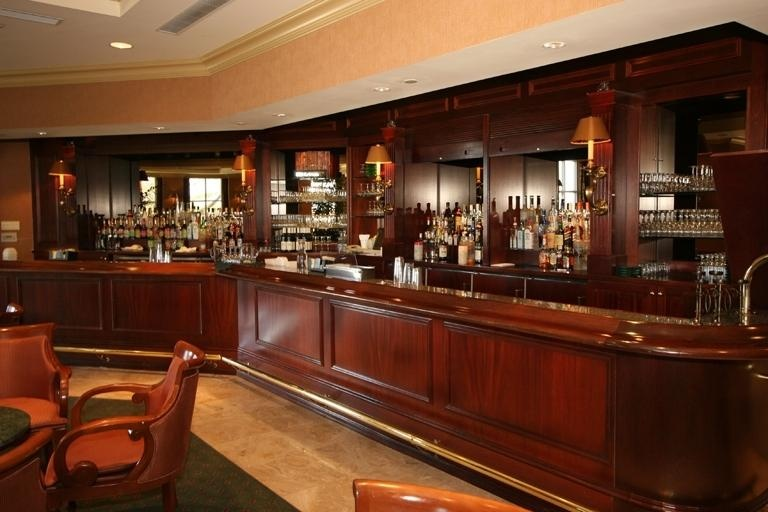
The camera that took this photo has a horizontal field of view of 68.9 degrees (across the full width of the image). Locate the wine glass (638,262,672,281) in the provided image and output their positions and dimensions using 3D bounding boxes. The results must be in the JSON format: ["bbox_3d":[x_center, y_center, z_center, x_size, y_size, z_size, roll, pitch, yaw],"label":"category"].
[{"bbox_3d":[2.841,0.152,5.888,0.243,0.255,0.277,3,7,22],"label":"wine glass"}]

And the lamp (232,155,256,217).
[{"bbox_3d":[-2.307,-1.212,9.383,0.316,1.005,1.619,-4,11,-13],"label":"lamp"}]

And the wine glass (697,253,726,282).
[{"bbox_3d":[3.094,0.112,5.302,0.277,0.331,0.274,2,3,38],"label":"wine glass"}]

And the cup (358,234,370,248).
[{"bbox_3d":[-0.293,-0.223,8.371,0.180,0.186,0.176,1,8,0],"label":"cup"}]

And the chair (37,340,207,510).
[{"bbox_3d":[-1.820,1.236,4.448,1.360,1.430,1.048,4,-3,-24],"label":"chair"}]

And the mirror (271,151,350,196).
[{"bbox_3d":[-1.168,-1.364,9.425,1.346,0.846,0.722,2,10,15],"label":"mirror"}]

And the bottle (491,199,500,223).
[{"bbox_3d":[1.405,-0.574,7.103,0.033,0.326,0.184,7,13,37],"label":"bottle"}]

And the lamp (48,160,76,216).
[{"bbox_3d":[-5.663,-1.217,9.989,0.373,1.007,0.820,-7,12,-29],"label":"lamp"}]

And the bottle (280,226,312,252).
[{"bbox_3d":[-1.388,-0.269,8.951,0.422,0.387,0.190,1,1,4],"label":"bottle"}]

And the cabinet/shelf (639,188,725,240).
[{"bbox_3d":[2.993,-0.397,5.829,0.850,0.469,0.266,-4,10,45],"label":"cabinet/shelf"}]

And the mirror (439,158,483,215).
[{"bbox_3d":[1.323,-0.982,8.624,0.962,0.879,0.327,-5,-23,12],"label":"mirror"}]

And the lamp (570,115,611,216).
[{"bbox_3d":[2.128,-0.921,5.752,0.366,1.002,0.573,3,11,23],"label":"lamp"}]

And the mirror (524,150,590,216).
[{"bbox_3d":[2.160,-0.933,7.009,0.097,0.751,0.865,-12,10,-43],"label":"mirror"}]
